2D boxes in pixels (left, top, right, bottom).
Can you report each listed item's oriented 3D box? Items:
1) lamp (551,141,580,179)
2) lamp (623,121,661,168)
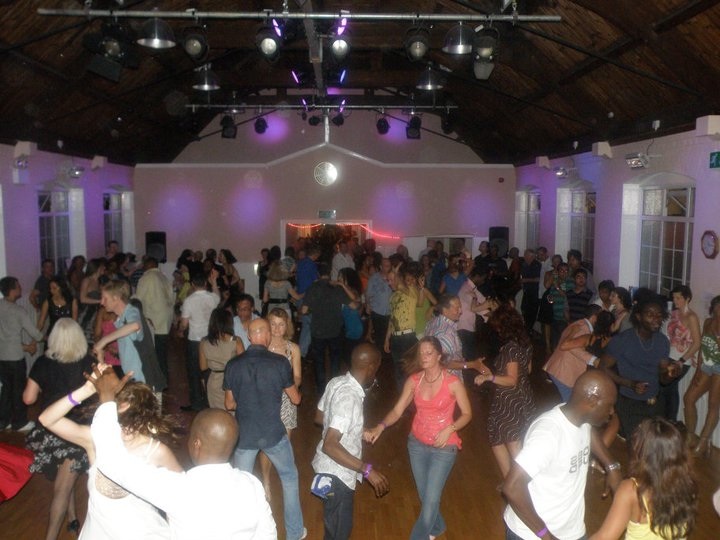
[{"bbox_3d":[3.760,-1.962,10.773,0.327,0.522,0.151,8,-4,44],"label":"lamp"},{"bbox_3d":[4.044,-1.744,8.328,0.523,0.612,0.515,0,4,-44],"label":"lamp"}]
